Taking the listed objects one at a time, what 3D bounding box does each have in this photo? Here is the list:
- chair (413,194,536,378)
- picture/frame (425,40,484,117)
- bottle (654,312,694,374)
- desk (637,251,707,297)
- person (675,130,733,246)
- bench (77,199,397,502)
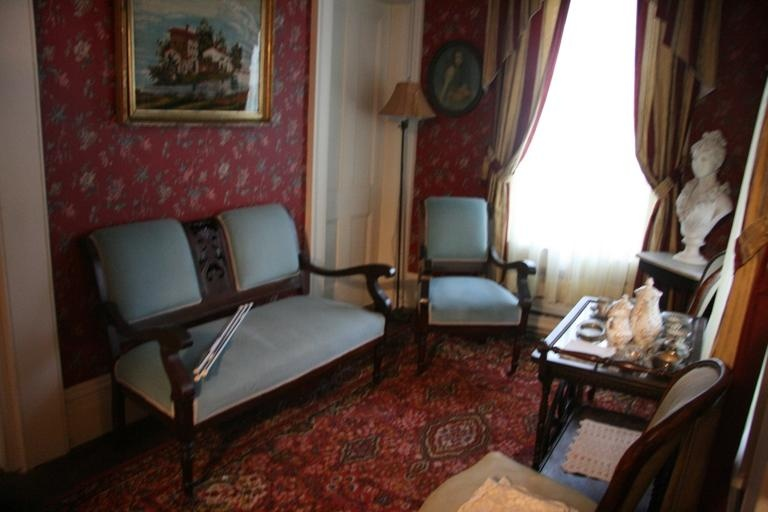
[{"bbox_3d":[0.658,0.190,4.000,0.811,1.081,0.902,1,18,3],"label":"chair"},{"bbox_3d":[0.593,-1.465,4.470,0.617,0.742,0.097,8,12,30],"label":"picture/frame"},{"bbox_3d":[1.494,0.438,2.806,0.215,0.097,0.352,4,35,32],"label":"bottle"},{"bbox_3d":[2.021,0.087,3.800,0.265,0.288,0.331,-16,24,-36],"label":"desk"},{"bbox_3d":[2.257,-0.471,3.824,0.330,0.772,0.281,7,20,22],"label":"person"},{"bbox_3d":[-0.808,0.393,3.252,0.966,1.120,1.600,13,18,31],"label":"bench"}]
